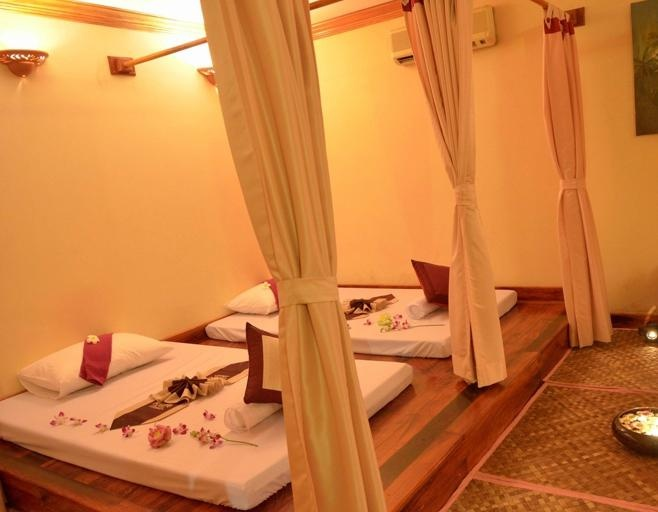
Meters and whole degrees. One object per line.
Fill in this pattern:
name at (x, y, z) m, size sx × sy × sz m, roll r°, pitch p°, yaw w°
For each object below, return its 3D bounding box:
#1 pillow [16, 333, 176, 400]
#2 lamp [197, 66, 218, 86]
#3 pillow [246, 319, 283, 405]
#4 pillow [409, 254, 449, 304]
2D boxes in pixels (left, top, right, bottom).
pillow at (-1.682, 0.735, 3.605) m, size 0.514 × 0.310 × 0.868 m, roll 3°, pitch 16°, yaw 41°
lamp at (-1.197, -1.752, 4.859) m, size 0.134 × 0.165 × 0.156 m, roll -9°, pitch 13°, yaw 1°
pillow at (-0.373, 0.599, 2.696) m, size 0.185 × 0.408 × 0.255 m, roll -9°, pitch 14°, yaw 1°
pillow at (0.833, 0.216, 4.021) m, size 0.275 × 0.365 × 0.198 m, roll -6°, pitch 14°, yaw 12°
